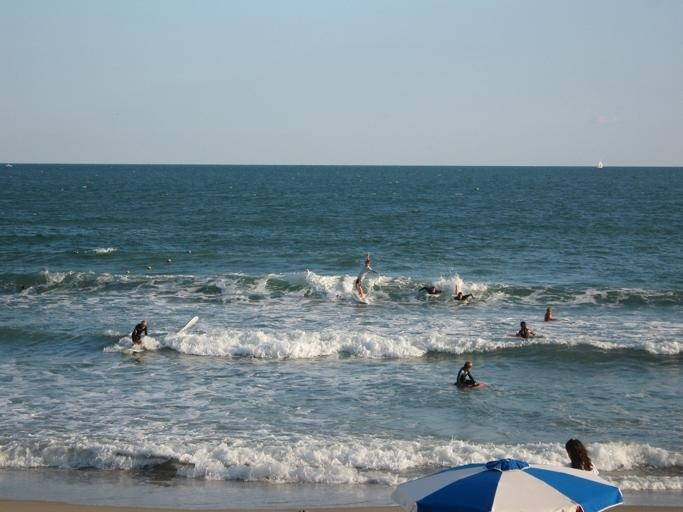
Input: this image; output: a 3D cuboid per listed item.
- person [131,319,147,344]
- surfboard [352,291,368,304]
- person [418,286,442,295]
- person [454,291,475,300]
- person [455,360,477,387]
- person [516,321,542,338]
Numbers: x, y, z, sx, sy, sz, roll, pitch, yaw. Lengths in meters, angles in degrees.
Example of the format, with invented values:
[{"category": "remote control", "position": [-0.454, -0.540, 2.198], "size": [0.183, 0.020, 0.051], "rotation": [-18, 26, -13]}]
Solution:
[{"category": "person", "position": [-8.458, 3.199, 44.745], "size": [0.461, 1.182, 0.376], "rotation": [35, 33, -16]}, {"category": "surfboard", "position": [0.872, 2.038, 52.347], "size": [0.686, 0.675, 2.011], "rotation": [1, 2, -3]}, {"category": "person", "position": [4.423, 1.726, 52.872], "size": [1.383, 0.356, 1.464], "rotation": [0, -2, 1]}, {"category": "person", "position": [5.922, 1.950, 51.967], "size": [0.917, 0.381, 0.892], "rotation": [0, 3, 9]}, {"category": "person", "position": [4.774, 4.479, 40.994], "size": [0.794, 0.956, 0.707], "rotation": [4, 6, 42]}, {"category": "person", "position": [7.989, 3.126, 45.429], "size": [1.213, 0.601, 0.990], "rotation": [-1, 4, -8]}]
